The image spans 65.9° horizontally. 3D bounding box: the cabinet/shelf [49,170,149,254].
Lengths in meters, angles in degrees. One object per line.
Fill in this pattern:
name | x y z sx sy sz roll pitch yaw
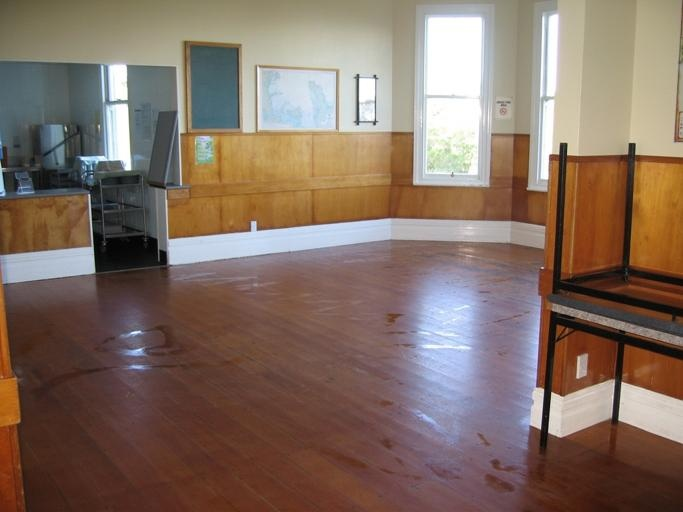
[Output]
cabinet/shelf | -3.979 -0.894 9.101 0.797 1.243 2.357 -10 16 -38
